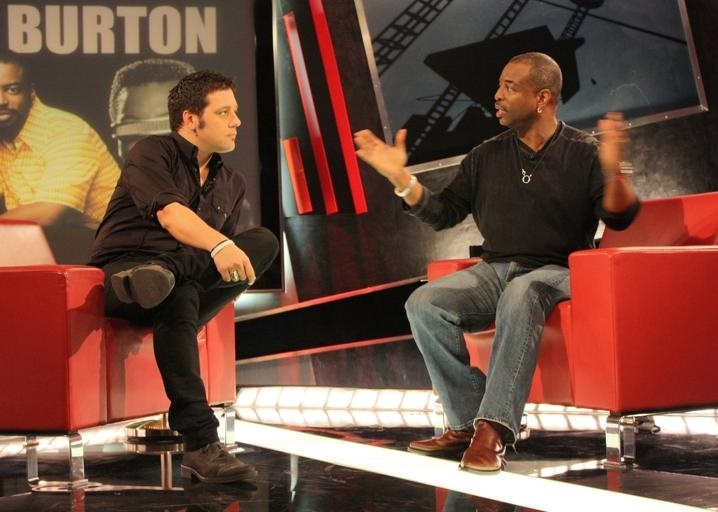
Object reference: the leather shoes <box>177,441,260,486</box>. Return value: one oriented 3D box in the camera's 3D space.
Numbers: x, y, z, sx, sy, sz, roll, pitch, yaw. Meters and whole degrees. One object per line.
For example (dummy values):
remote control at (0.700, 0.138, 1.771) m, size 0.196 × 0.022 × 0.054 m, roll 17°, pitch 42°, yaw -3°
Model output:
leather shoes at (-0.485, 0.705, 2.522) m, size 0.268 × 0.115 × 0.127 m, roll -1°, pitch -3°, yaw 20°

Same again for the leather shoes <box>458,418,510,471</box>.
leather shoes at (0.440, 0.662, 2.554) m, size 0.135 × 0.153 × 0.381 m, roll 3°, pitch -8°, yaw 17°

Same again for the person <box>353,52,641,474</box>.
person at (0.575, -0.040, 2.773) m, size 0.934 × 1.544 × 1.113 m, roll 4°, pitch -3°, yaw -27°

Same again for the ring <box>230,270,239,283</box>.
ring at (-0.439, 0.067, 2.542) m, size 0.034 × 0.041 × 0.015 m, roll -1°, pitch 12°, yaw -6°

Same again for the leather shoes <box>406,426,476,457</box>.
leather shoes at (0.323, 0.719, 2.827) m, size 0.284 × 0.106 × 0.091 m, roll -1°, pitch 0°, yaw 3°

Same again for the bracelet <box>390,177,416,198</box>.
bracelet at (0.188, -0.282, 3.027) m, size 0.044 × 0.089 × 0.081 m, roll 8°, pitch 4°, yaw -44°

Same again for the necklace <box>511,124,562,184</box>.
necklace at (0.716, -0.408, 2.972) m, size 0.191 × 0.247 × 0.070 m, roll 14°, pitch -5°, yaw 24°
